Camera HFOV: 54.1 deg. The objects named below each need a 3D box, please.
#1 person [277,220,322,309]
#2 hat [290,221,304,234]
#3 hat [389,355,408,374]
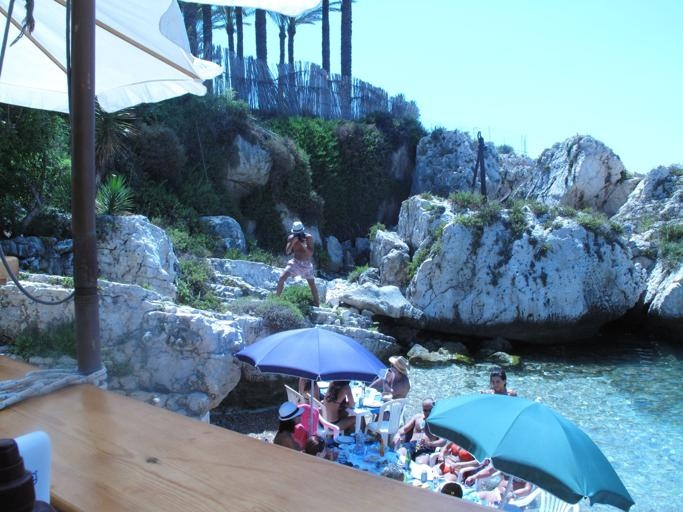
[{"bbox_3d":[-0.868,0.171,13.978,0.848,1.713,0.729,5,-16,-21],"label":"person"},{"bbox_3d":[-0.892,-0.600,14.047,0.220,0.264,0.846,4,11,-6],"label":"hat"},{"bbox_3d":[0.961,1.872,10.930,0.360,0.149,0.329,38,13,-12],"label":"hat"}]
